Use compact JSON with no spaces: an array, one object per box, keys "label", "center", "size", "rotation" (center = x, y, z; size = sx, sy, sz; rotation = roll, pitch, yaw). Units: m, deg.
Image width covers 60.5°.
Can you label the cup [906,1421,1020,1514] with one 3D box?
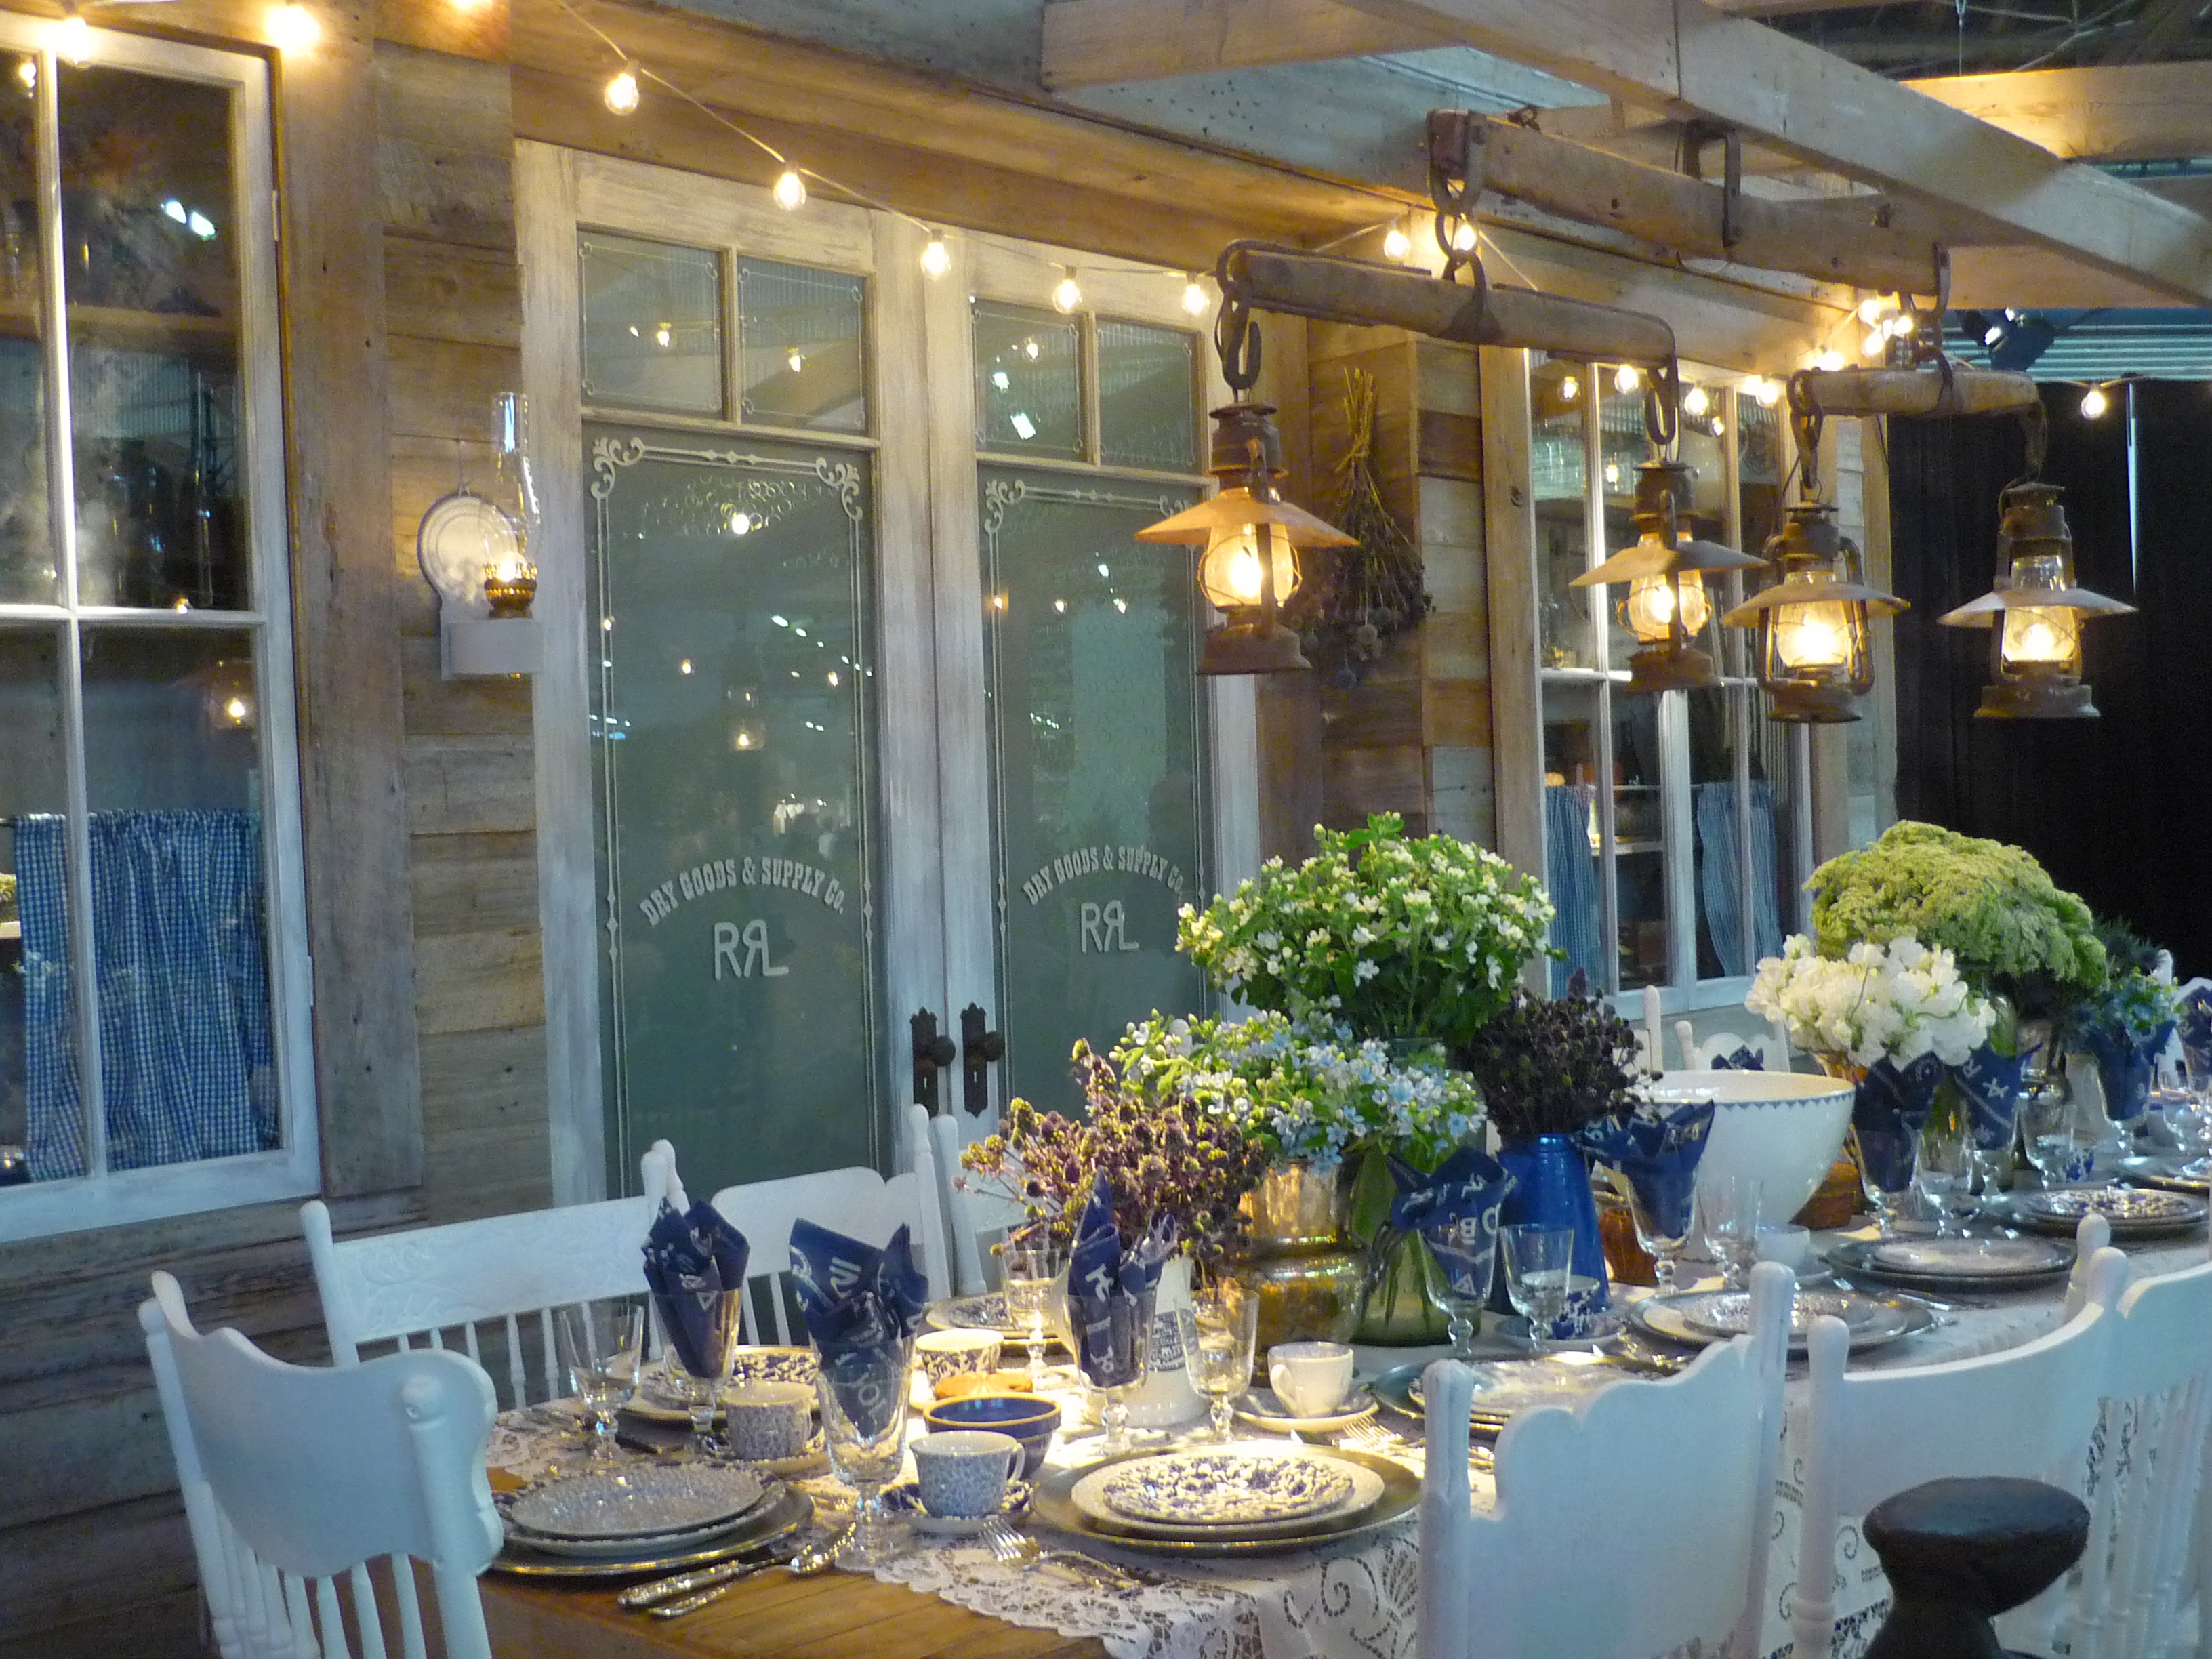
[{"label":"cup","center":[-0.163,0.720,2.129],"size":[0.087,0.065,0.078],"rotation":[6,-14,-26]}]

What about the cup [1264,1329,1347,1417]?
[{"label":"cup","center":[0.249,0.686,2.398],"size":[0.071,0.064,0.088],"rotation":[3,6,43]}]

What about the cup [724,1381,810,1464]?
[{"label":"cup","center":[-0.417,0.740,2.347],"size":[0.090,0.070,0.069],"rotation":[9,-16,-35]}]

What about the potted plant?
[{"label":"potted plant","center":[1.636,0.349,3.626],"size":[0.612,0.675,0.574],"rotation":[1,5,-44]}]

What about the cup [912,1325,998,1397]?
[{"label":"cup","center":[-0.201,0.716,2.579],"size":[0.093,0.078,0.099],"rotation":[2,3,0]}]

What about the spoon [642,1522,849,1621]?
[{"label":"spoon","center":[-0.386,0.793,2.012],"size":[0.029,0.034,0.182],"rotation":[12,11,35]}]

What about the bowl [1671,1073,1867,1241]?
[{"label":"bowl","center":[1.069,0.492,3.126],"size":[0.294,0.216,0.310],"rotation":[0,1,0]}]

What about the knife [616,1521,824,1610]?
[{"label":"knife","center":[-0.404,0.768,2.021],"size":[0.063,0.017,0.198],"rotation":[9,5,32]}]

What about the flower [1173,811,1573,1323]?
[{"label":"flower","center":[0.439,0.354,3.098],"size":[0.625,0.793,0.661],"rotation":[-1,-3,34]}]

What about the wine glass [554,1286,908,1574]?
[{"label":"wine glass","center":[-0.424,0.634,2.133],"size":[0.274,0.132,0.296],"rotation":[-7,-7,35]}]
